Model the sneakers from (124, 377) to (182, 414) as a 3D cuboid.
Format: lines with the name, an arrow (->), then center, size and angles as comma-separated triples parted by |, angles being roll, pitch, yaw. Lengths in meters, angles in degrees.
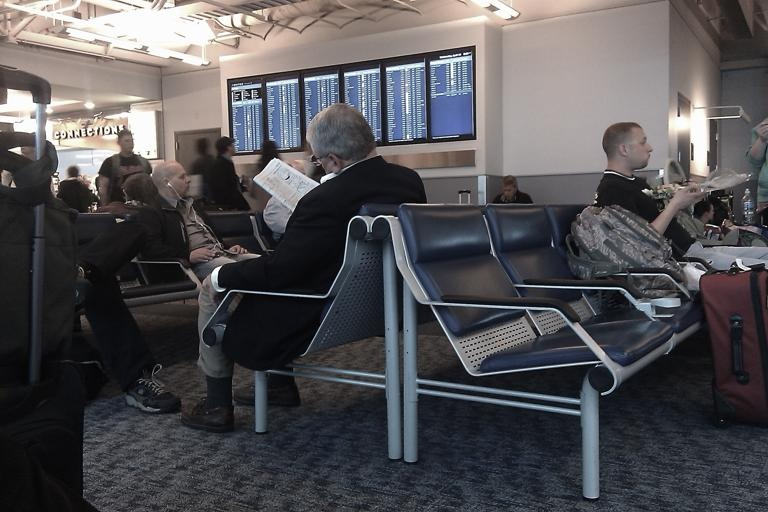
sneakers -> -1.176, 0.717, 2.903 | 0.333, 0.142, 0.126 | 3, 3, 24

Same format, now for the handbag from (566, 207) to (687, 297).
handbag -> 1.270, -0.057, 3.003 | 0.561, 0.190, 0.472 | 25, 37, -4

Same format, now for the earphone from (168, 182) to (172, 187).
earphone -> -1.471, -0.495, 3.833 | 0.008, 0.022, 0.034 | 15, -5, -38

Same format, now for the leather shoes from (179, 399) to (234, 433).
leather shoes -> -0.814, 0.745, 2.634 | 0.269, 0.118, 0.114 | 3, -4, 27

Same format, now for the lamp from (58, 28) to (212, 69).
lamp -> -3.588, -3.149, 8.327 | 1.030, 0.345, 2.206 | 2, 8, 24
